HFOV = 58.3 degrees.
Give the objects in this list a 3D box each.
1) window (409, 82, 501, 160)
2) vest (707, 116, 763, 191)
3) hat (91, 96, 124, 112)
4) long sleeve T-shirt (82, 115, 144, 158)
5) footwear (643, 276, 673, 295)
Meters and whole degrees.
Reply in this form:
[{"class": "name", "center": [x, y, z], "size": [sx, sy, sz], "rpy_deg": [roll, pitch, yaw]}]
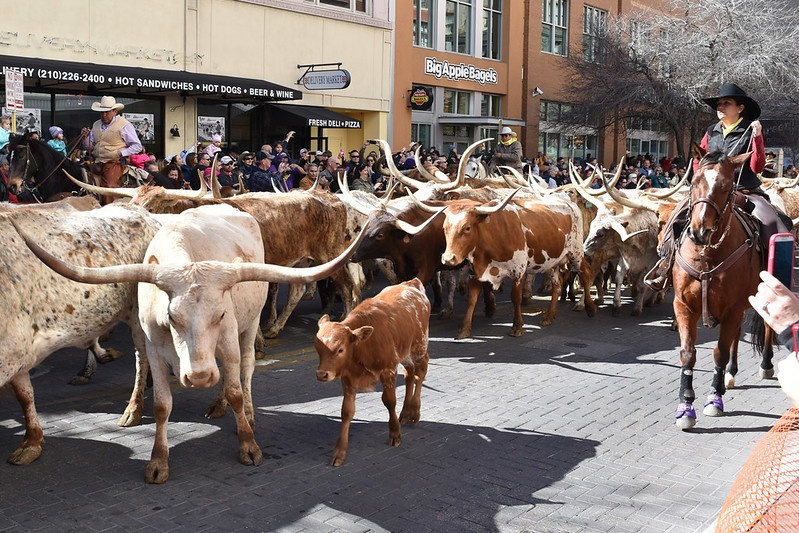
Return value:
[{"class": "window", "center": [3.631, -6.777, 34.338], "size": [5.605, 3.677, 3.350], "rpy_deg": [-7, 13, -44]}, {"class": "vest", "center": [4.287, -1.473, 9.222], "size": [0.840, 0.919, 0.642], "rpy_deg": [12, 24, 40]}, {"class": "hat", "center": [-5.930, -3.352, 14.543], "size": [0.477, 0.305, 0.592], "rpy_deg": [-2, 13, -15]}, {"class": "long sleeve T-shirt", "center": [-5.845, -2.614, 14.542], "size": [1.245, 0.928, 0.637], "rpy_deg": [3, 4, 13]}, {"class": "footwear", "center": [4.082, 0.288, 11.387], "size": [0.295, 0.413, 0.152], "rpy_deg": [20, 59, 32]}]
